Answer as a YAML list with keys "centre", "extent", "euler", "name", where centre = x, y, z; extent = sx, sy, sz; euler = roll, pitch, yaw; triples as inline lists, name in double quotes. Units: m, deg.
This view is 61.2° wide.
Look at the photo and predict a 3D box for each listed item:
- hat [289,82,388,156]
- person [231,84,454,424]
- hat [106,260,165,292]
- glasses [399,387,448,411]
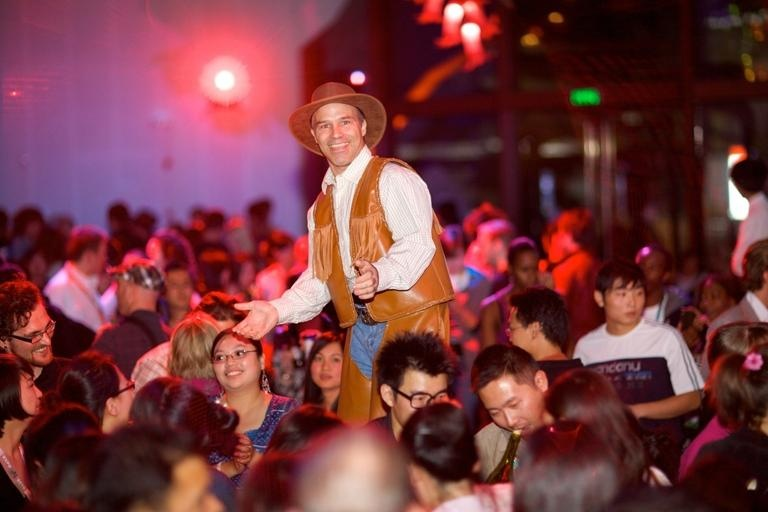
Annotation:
- centre: [-0.313, -0.963, 4.250]
  extent: [0.654, 0.260, 0.600]
  euler: [-9, -9, -7]
  name: "hat"
- centre: [-0.199, -0.044, 3.934]
  extent: [1.073, 2.092, 0.806]
  euler: [-7, -5, 31]
  name: "person"
- centre: [-2.020, 0.165, 5.339]
  extent: [0.306, 0.149, 0.249]
  euler: [0, -5, 35]
  name: "hat"
- centre: [0.239, 0.789, 3.657]
  extent: [0.335, 0.112, 0.106]
  euler: [-2, -5, -26]
  name: "glasses"
